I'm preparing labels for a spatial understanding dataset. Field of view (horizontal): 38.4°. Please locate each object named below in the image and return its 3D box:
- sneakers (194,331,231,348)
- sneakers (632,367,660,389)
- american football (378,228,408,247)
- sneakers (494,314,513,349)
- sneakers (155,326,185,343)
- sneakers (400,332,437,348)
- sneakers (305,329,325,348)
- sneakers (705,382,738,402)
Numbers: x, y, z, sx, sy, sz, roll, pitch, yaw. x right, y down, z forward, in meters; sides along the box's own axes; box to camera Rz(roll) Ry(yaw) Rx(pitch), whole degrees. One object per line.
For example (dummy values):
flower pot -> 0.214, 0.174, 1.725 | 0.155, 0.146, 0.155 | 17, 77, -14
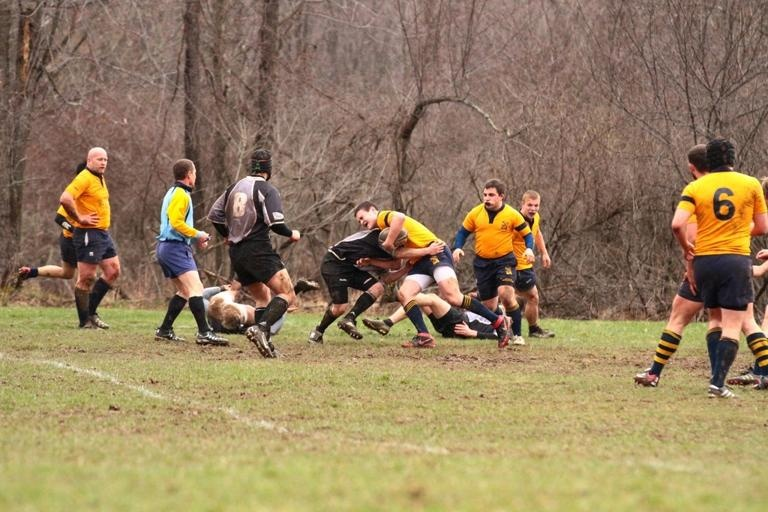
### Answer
sneakers -> -2.887, 1.397, 18.302 | 0.613, 0.290, 0.221 | 0, -1, -4
sneakers -> 3.785, 1.793, 16.196 | 0.461, 0.258, 0.166 | 2, -3, 21
american football -> 0.128, -0.304, 18.619 | 0.291, 0.316, 0.384 | -17, -57, 42
sneakers -> 2.037, 1.288, 18.993 | 0.290, 0.607, 0.217 | -4, -9, -15
sneakers -> -3.706, 1.357, 18.845 | 0.544, 0.222, 0.203 | 2, -1, -12
sneakers -> 0.587, 1.448, 18.710 | 0.585, 0.244, 0.221 | 0, -4, 2
sneakers -> -1.181, 1.384, 18.768 | 0.256, 0.260, 0.396 | 1, 13, -3
sneakers -> 4.755, 1.944, 15.601 | 0.431, 0.184, 0.157 | 0, 1, -6
